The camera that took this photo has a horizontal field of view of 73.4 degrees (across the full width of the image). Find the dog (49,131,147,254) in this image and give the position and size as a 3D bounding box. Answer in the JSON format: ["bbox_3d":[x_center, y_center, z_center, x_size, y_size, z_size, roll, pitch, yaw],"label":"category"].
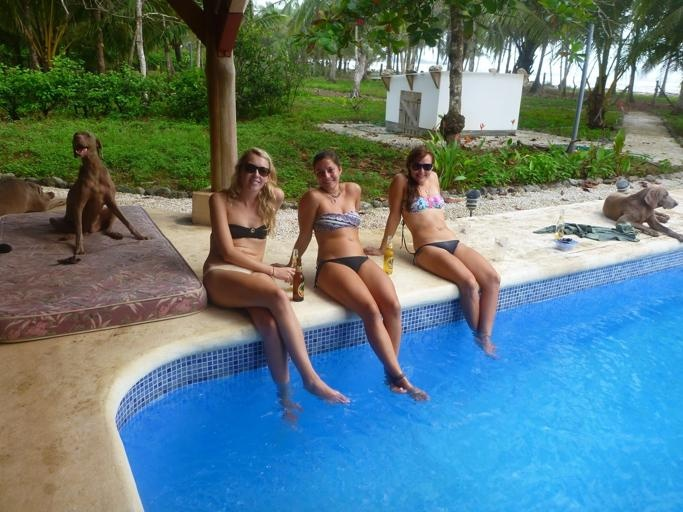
[{"bbox_3d":[-2.498,-0.698,4.642,0.756,1.092,0.849,-8,19,-39],"label":"dog"}]

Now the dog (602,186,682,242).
[{"bbox_3d":[4.127,-0.680,6.443,0.788,0.511,1.040,-9,23,-24],"label":"dog"}]

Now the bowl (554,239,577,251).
[{"bbox_3d":[2.735,-0.155,5.577,0.325,0.119,0.189,-6,20,-26],"label":"bowl"}]

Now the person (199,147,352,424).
[{"bbox_3d":[-0.708,0.143,3.778,0.821,1.952,1.284,-4,19,-18],"label":"person"}]
